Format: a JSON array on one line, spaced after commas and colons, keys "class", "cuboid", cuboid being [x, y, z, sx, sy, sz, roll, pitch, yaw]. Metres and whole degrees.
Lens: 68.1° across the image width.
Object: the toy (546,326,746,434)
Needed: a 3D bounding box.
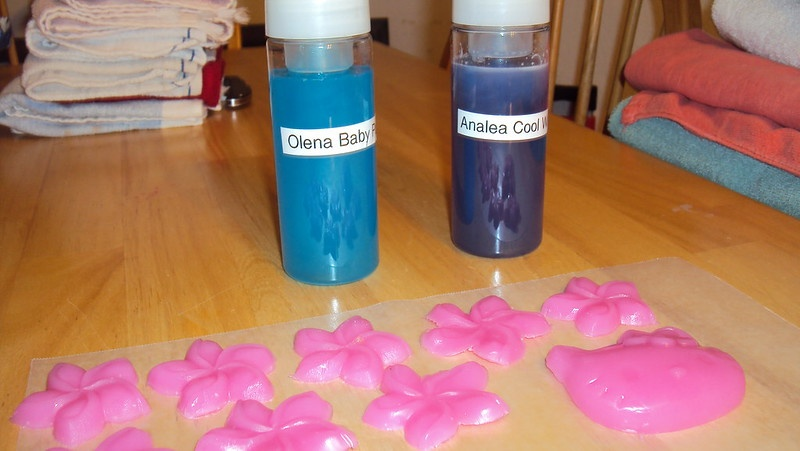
[{"class": "toy", "cuboid": [0.273, 0.169, 0.655, 0.204, 0.051, 0.106, -7, 32, -5]}]
